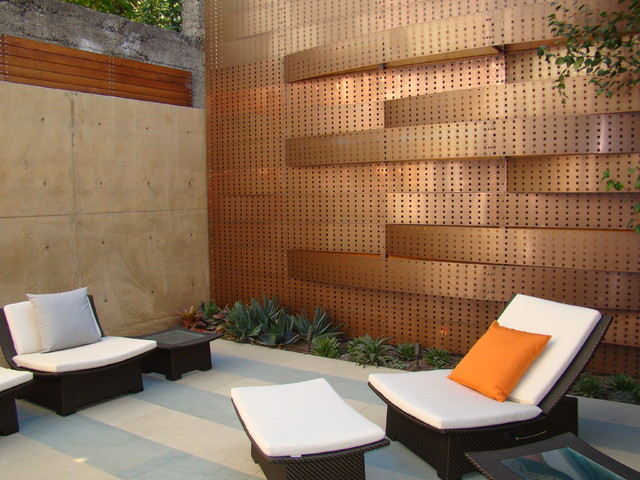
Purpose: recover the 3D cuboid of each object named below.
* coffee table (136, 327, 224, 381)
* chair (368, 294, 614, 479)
[{"bbox_3d":[-1.679,1.228,5.537,0.597,0.290,0.600,2,5,36],"label":"coffee table"},{"bbox_3d":[1.357,1.099,4.111,1.790,1.153,1.205,-2,3,-24],"label":"chair"}]
